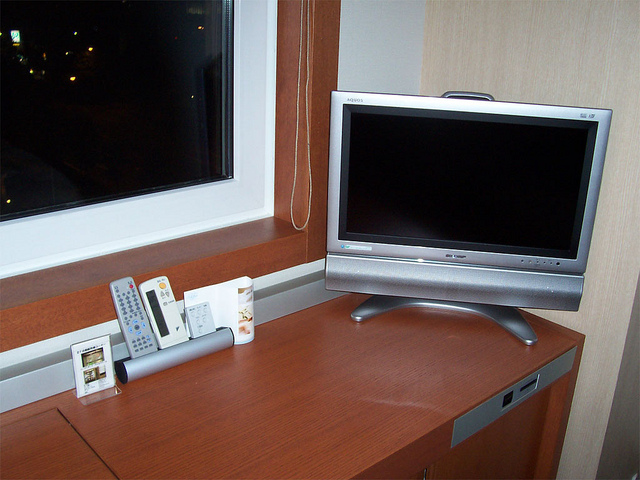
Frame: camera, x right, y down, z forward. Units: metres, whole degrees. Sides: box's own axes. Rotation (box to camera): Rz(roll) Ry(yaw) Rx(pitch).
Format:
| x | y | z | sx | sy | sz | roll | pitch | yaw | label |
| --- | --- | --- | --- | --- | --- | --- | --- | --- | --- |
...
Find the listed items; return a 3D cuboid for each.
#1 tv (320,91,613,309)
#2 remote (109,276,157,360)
| x | y | z | sx | sy | sz | roll | pitch | yaw | label |
| --- | --- | --- | --- | --- | --- | --- | --- | --- | --- |
| 0.459 | -0.130 | 1.379 | 0.657 | 0.525 | 0.091 | 8 | 23 | 7 | tv |
| -0.487 | 0.203 | 1.152 | 0.070 | 0.229 | 0.023 | -15 | 7 | -43 | remote |
